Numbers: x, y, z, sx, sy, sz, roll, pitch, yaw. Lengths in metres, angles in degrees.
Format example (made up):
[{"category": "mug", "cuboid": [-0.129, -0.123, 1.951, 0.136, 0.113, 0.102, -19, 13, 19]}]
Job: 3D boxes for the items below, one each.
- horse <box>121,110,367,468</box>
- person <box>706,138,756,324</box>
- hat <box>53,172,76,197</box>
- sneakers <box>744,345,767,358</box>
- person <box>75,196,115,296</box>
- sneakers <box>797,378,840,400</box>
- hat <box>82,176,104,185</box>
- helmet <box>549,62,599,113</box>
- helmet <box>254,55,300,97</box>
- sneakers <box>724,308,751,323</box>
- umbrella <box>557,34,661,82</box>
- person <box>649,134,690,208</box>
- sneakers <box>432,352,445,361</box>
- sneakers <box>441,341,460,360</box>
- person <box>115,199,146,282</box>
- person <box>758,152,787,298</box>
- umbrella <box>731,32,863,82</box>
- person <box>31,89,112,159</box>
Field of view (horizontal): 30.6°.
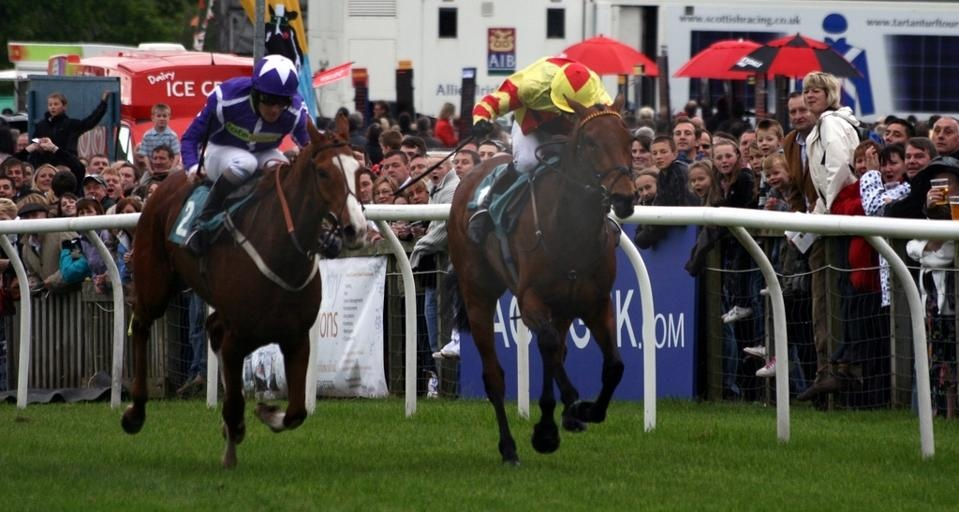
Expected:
[{"category": "horse", "cuboid": [-2.409, 0.363, 18.136, 2.760, 3.610, 0.734, 0, 0, 34]}, {"category": "person", "cuboid": [2.874, -0.296, 19.699, 0.479, 2.083, 1.034, 0, 0, 7]}, {"category": "hat", "cuboid": [-5.145, -0.889, 21.694, 0.283, 0.320, 0.348, 1, 16, -11]}, {"category": "sneakers", "cuboid": [3.047, 1.051, 19.281, 0.263, 0.101, 0.098, 6, -6, 1]}, {"category": "person", "cuboid": [-4.517, -0.121, 20.504, 0.389, 1.121, 0.808, 0, 1, -15]}, {"category": "sneakers", "cuboid": [3.681, 1.424, 18.860, 0.558, 0.207, 0.187, -16, -4, 30]}, {"category": "hat", "cuboid": [-4.747, -0.938, 21.579, 0.244, 0.108, 0.220, 0, 1, -1]}, {"category": "helmet", "cuboid": [1.049, -1.845, 18.467, 0.504, 0.277, 0.696, 8, 33, 11]}, {"category": "helmet", "cuboid": [-2.089, -1.870, 18.170, 0.514, 0.328, 0.654, 0, 27, -15]}, {"category": "sneakers", "cuboid": [2.835, 0.644, 19.350, 0.280, 0.102, 0.150, -18, 6, -2]}, {"category": "umbrella", "cuboid": [1.838, -2.805, 24.946, 1.638, 0.528, 1.552, 2, 3, 2]}, {"category": "person", "cuboid": [2.202, -0.984, 20.091, 0.453, 0.794, 0.357, 0, 0, 6]}, {"category": "sneakers", "cuboid": [-0.475, 1.140, 19.875, 0.122, 0.047, 0.076, 4, -41, 38]}, {"category": "sneakers", "cuboid": [-0.328, 1.087, 19.813, 0.157, 0.090, 0.200, 32, -52, -33]}, {"category": "person", "cuboid": [-3.930, -0.164, 19.711, 0.231, 0.927, 0.524, 3, 13, -3]}, {"category": "person", "cuboid": [3.321, -0.459, 19.617, 0.282, 1.390, 0.755, 0, 0, 9]}, {"category": "umbrella", "cuboid": [4.465, -2.858, 25.151, 1.597, 0.478, 1.514, 0, 2, -9]}, {"category": "person", "cuboid": [-5.529, -1.720, 23.601, 0.984, 0.984, 1.536, 0, 1, -14]}]
